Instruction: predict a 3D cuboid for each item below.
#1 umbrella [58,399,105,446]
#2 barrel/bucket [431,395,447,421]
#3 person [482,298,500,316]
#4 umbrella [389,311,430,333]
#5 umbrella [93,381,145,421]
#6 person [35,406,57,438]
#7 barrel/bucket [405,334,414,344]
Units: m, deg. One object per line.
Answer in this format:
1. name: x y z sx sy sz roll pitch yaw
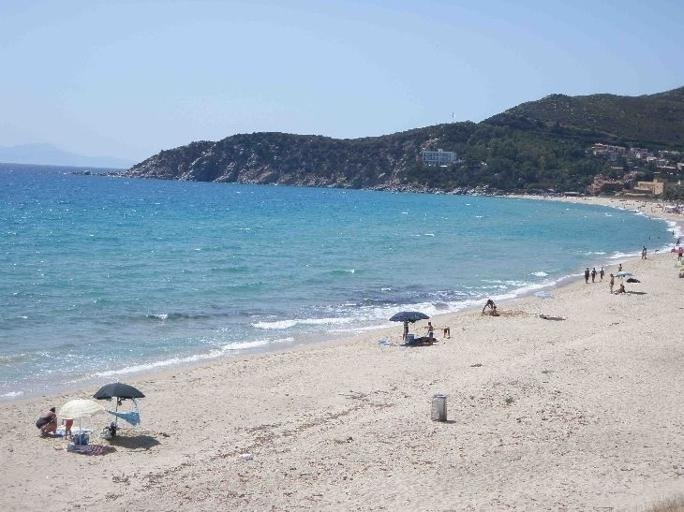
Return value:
1. umbrella: -7.923 4.950 22.997 1.321 1.039 0.989 8 0 -11
2. barrel/bucket: 3.028 4.716 23.282 0.486 0.742 0.558 3 12 4
3. person: 6.987 2.391 35.270 0.817 0.531 0.997 -2 15 15
4. umbrella: 2.694 2.616 31.233 1.321 0.564 1.116 -4 11 -25
5. umbrella: -7.074 4.496 23.422 1.209 0.770 1.184 3 0 41
6. person: -9.306 5.191 23.426 0.618 0.697 0.748 -3 12 -20
7. barrel/bucket: 2.808 3.478 31.281 0.415 0.292 0.255 4 1 1
